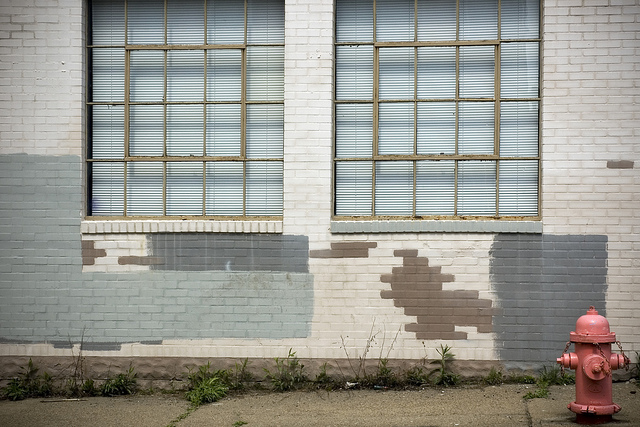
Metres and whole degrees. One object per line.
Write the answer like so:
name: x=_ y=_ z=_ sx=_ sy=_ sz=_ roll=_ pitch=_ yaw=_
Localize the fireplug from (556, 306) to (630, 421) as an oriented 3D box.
fireplug: x=4.437 y=2.446 z=22.194 sx=1.020 sy=1.819 sz=0.311 roll=0 pitch=-2 yaw=7
